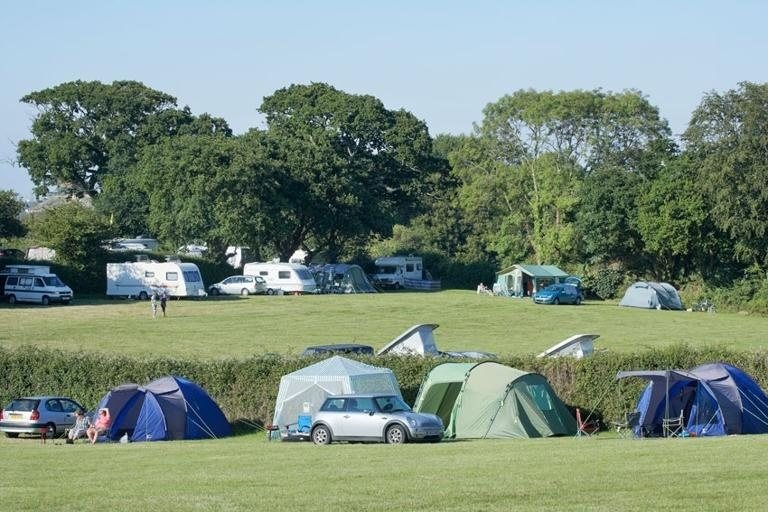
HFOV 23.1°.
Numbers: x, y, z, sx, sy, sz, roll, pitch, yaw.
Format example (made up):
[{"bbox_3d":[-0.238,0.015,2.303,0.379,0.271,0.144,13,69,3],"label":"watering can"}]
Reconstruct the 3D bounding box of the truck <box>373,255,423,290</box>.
[{"bbox_3d":[1.436,1.568,177.757,4.746,3.121,1.960,2,-5,-40],"label":"truck"}]

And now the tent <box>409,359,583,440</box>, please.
[{"bbox_3d":[7.701,9.853,127.252,10.013,4.923,12.016,3,-3,-34],"label":"tent"}]

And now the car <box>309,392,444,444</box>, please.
[{"bbox_3d":[-0.694,10.734,121.543,7.800,3.230,1.933,-3,-4,16],"label":"car"}]

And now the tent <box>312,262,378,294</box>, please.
[{"bbox_3d":[-3.673,2.117,169.404,5.330,2.774,3.114,0,-4,-20],"label":"tent"}]

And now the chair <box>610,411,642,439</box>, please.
[{"bbox_3d":[16.142,11.322,123.605,1.563,2.255,1.676,1,1,-16],"label":"chair"}]

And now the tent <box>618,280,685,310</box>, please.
[{"bbox_3d":[22.700,3.544,159.334,2.623,1.563,4.006,-1,0,-34],"label":"tent"}]

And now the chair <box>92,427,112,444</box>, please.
[{"bbox_3d":[-18.702,11.772,123.615,1.247,1.035,1.052,0,-33,-26],"label":"chair"}]

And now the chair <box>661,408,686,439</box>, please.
[{"bbox_3d":[19.130,11.335,123.948,1.373,2.167,1.615,1,-11,-3],"label":"chair"}]

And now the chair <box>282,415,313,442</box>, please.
[{"bbox_3d":[-5.517,11.543,122.987,1.717,1.208,1.739,-3,-6,41],"label":"chair"}]

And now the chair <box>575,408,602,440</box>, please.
[{"bbox_3d":[13.636,11.357,124.146,1.572,2.316,1.840,0,1,4],"label":"chair"}]
